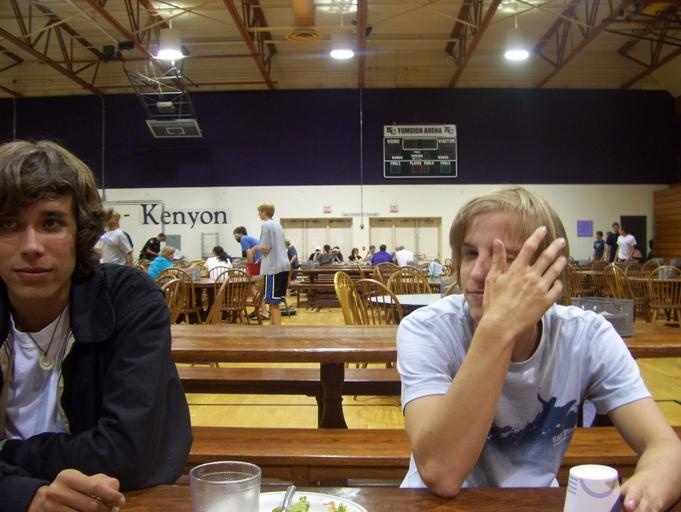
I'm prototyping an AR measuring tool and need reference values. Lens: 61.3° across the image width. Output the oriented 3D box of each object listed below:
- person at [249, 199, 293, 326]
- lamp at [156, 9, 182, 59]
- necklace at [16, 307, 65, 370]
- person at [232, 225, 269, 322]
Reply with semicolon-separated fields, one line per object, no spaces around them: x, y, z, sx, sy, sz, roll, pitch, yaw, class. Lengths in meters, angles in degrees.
-0.792;0.117;6.414;0.493;1.476;0.475;1;8;1;person
-2.659;-3.342;8.902;0.353;0.476;0.471;-3;3;-18;lamp
-0.840;0.229;1.599;0.159;0.208;0.010;3;5;-4;necklace
-1.240;0.243;8.305;0.455;1.487;0.423;-4;-13;-24;person
